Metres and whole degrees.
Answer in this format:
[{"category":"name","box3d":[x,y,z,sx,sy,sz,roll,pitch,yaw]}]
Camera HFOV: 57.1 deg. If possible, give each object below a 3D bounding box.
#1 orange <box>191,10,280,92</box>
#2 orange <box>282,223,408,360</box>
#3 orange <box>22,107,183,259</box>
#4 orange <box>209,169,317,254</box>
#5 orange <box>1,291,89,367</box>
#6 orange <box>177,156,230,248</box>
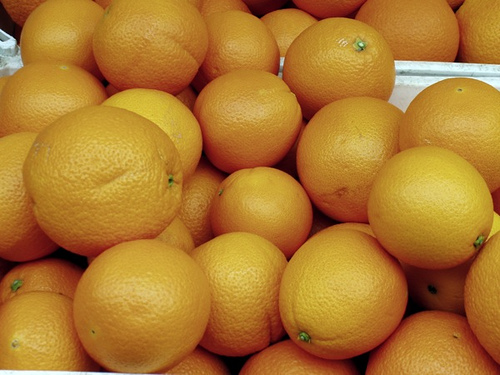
[{"category":"orange","box3d":[-0.030,-0.376,1.421,0.242,0.244,0.228,-5,13,13]},{"category":"orange","box3d":[0.189,0.213,0.941,0.265,0.142,0.233,-14,58,-6]},{"category":"orange","box3d":[-0.307,-0.036,0.975,0.319,0.309,0.274,-5,20,-37]},{"category":"orange","box3d":[0.022,0.079,1.220,0.234,0.218,0.231,6,68,-29]},{"category":"orange","box3d":[-0.429,0.278,0.977,0.168,0.147,0.167,3,69,-23]},{"category":"orange","box3d":[-0.132,0.044,1.354,0.171,0.171,0.223,16,86,46]}]
